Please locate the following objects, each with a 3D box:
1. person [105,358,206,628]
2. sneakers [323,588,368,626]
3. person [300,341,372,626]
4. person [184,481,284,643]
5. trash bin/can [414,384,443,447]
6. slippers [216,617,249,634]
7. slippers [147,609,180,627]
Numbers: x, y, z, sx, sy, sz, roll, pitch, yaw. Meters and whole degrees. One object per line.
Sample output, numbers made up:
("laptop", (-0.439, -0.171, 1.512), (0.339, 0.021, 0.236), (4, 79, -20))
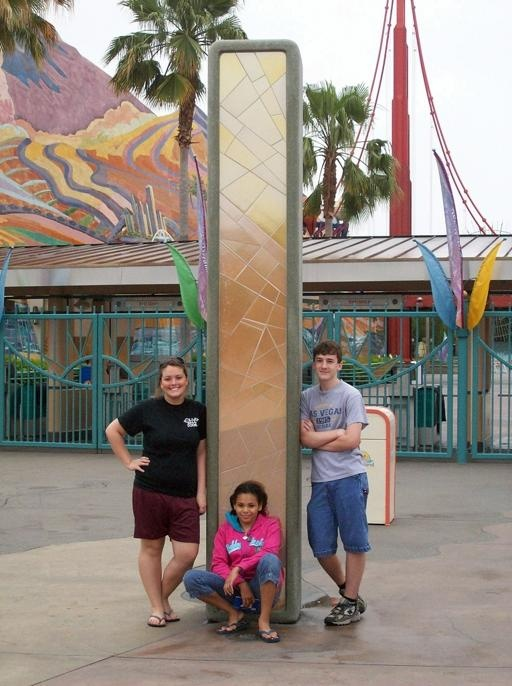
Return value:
("person", (-0.530, 0.786, 4.968), (0.532, 1.408, 0.261), (0, -5, -9))
("sneakers", (0.469, 1.401, 4.874), (0.095, 0.118, 0.268), (-6, -6, 35))
("person", (0.421, 0.735, 4.980), (0.353, 1.475, 0.371), (-2, -5, 6))
("person", (0.041, 1.113, 4.902), (0.735, 0.930, 0.696), (-1, -10, 9))
("trash bin/can", (2.309, 1.018, 12.799), (0.527, 0.823, 0.946), (-1, 1, 4))
("slippers", (-0.115, 1.451, 4.738), (0.061, 0.038, 0.156), (-6, -11, 33))
("slippers", (-0.493, 1.454, 4.905), (0.110, 0.067, 0.250), (-3, -5, 24))
